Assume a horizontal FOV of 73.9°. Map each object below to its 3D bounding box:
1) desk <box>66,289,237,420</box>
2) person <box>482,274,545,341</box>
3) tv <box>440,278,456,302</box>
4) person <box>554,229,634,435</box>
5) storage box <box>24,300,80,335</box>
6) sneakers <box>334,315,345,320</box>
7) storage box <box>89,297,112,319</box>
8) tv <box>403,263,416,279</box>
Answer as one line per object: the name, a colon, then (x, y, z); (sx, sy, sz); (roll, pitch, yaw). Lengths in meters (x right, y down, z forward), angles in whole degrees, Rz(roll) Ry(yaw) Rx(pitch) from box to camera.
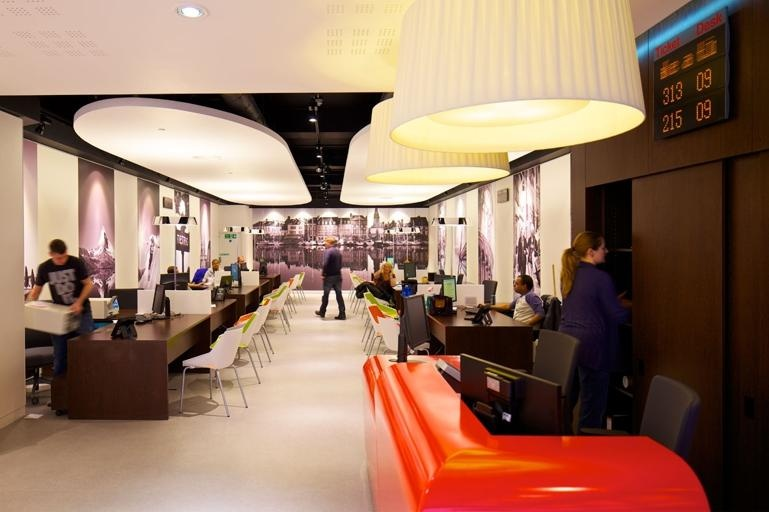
desk: (-2.803, 1.255, 6.006); (1.072, 0.873, 1.325); (0, 5, 1)
person: (1.714, 0.846, 6.660); (0.502, 1.122, 0.713); (21, -27, -40)
tv: (0.880, 0.492, 7.052); (0.140, 0.420, 0.349); (-1, -1, 30)
person: (1.926, 0.821, 4.603); (0.671, 1.980, 0.641); (-1, 2, -9)
storage box: (-3.520, 0.708, 5.431); (0.603, 0.338, 0.291); (12, -11, -8)
sneakers: (-0.977, 1.401, 11.512); (0.225, 0.083, 0.325); (0, 5, -9)
storage box: (-4.096, 0.774, 7.471); (0.400, 0.269, 0.407); (1, 7, -7)
tv: (0.576, 0.361, 11.513); (0.345, 0.357, 0.134); (1, -2, -30)
